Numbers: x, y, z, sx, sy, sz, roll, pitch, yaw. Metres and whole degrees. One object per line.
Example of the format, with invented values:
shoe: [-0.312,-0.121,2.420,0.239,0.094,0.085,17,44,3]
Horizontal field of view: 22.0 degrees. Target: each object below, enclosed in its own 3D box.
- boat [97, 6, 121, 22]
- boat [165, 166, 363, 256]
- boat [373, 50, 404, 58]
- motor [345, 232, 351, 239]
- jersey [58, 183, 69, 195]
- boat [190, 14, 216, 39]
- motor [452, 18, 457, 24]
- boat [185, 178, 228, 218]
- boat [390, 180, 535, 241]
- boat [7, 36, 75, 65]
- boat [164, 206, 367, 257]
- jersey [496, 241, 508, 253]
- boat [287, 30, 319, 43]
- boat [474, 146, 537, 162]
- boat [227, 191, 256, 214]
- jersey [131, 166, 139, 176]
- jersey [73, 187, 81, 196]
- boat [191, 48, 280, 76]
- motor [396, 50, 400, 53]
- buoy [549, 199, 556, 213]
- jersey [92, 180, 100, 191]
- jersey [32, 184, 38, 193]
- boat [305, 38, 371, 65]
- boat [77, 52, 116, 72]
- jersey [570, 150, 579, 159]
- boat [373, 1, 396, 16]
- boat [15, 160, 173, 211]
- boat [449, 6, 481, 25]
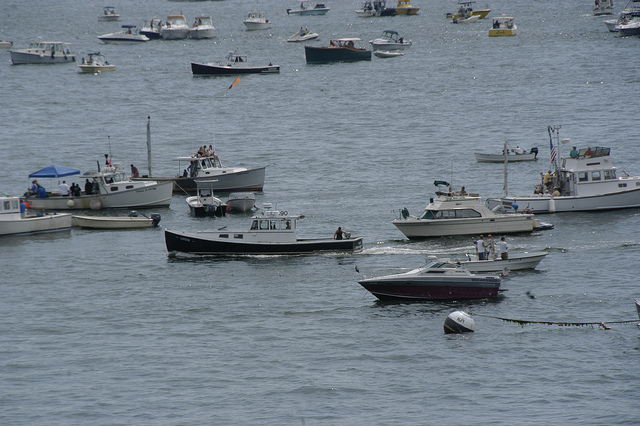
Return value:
boat: [-37.407,-35.175,291.346,2.992,2.108,5.590,-4,2,-29]
boat: [-3.127,1.585,164.868,26.658,8.044,6.020,0,-2,0]
boat: [9.802,-23.222,241.061,4.832,0.719,1.342,2,-6,-13]
motor: [2.754,2.269,165.814,0.738,0.478,2.110,1,2,7]
jersey: [-27.519,-2.544,178.204,1.740,1.313,0.898,1,13,6]
boat: [-19.004,-30.551,268.976,3.776,3.279,11.711,-3,11,-3]
motor: [22.527,-32.298,276.543,0.765,0.772,0.329,6,-4,6]
boat: [-12.475,-1.852,178.769,4.495,3.122,8.207,-3,12,-10]
boat: [14.765,0.055,170.378,15.552,4.844,4.258,-2,9,-11]
boat: [-40.191,-23.118,238.950,8.749,2.745,4.530,-5,10,-24]
boat: [-5.512,2.243,166.256,20.107,4.157,4.256,0,1,-5]
jersey: [17.647,3.281,160.580,0.850,1.043,0.859,2,15,18]
boat: [-1.890,-27.478,257.328,6.349,1.506,1.657,-1,11,8]
boat: [21.504,-6.776,189.580,9.779,1.657,2.118,0,-5,-5]
boat: [-8.384,-1.064,177.779,3.147,2.158,7.763,-3,0,-9]
jersey: [-20.592,-4.671,184.211,0.877,1.066,1.377,-1,4,20]
jersey: [-25.983,-2.336,177.385,0.735,0.969,0.369,-6,16,-14]
boat: [-11.986,-20.809,228.890,11.366,3.374,2.762,-2,14,-3]
motor: [11.433,-23.888,243.052,0.875,0.304,1.015,1,3,4]
buoy: [24.370,-0.741,173.857,0.587,1.384,0.404,-1,16,7]
jersey: [-23.950,-2.910,177.451,0.667,1.008,0.375,-3,15,-3]
jersey: [-30.509,-2.666,177.385,0.940,0.947,0.276,1,5,-1]
boat: [4.295,-23.037,238.543,13.015,3.075,3.305,0,-1,-11]
boat: [-32.235,-21.240,232.693,6.026,2.290,3.279,0,3,44]
jersey: [26.737,-6.208,173.893,0.885,0.988,0.377,-11,17,-31]
boat: [11.642,-36.659,294.745,3.381,2.571,4.687,1,12,12]
boat: [-26.048,-2.754,179.476,21.198,5.218,5.409,-3,7,-1]
boat: [24.700,-33.192,278.175,2.326,2.139,7.415,-1,2,40]
